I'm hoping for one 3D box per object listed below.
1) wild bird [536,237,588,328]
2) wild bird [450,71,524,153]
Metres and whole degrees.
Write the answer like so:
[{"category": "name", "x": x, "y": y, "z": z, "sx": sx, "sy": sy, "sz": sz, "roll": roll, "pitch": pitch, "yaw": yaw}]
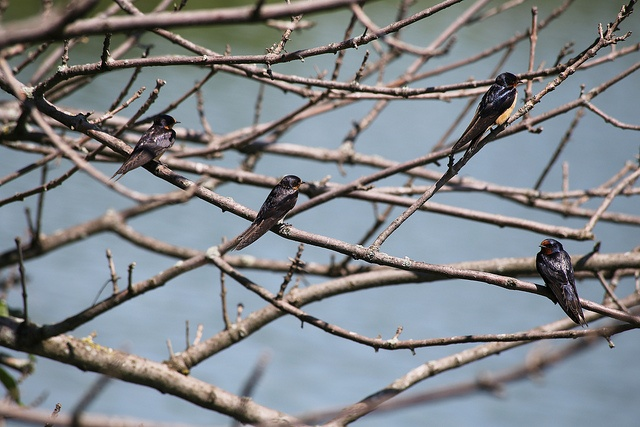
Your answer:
[{"category": "wild bird", "x": 2.462, "y": 0.674, "z": 7.281, "sx": 0.412, "sy": 1.075, "sz": 0.411, "roll": -2, "pitch": -52, "yaw": 11}, {"category": "wild bird", "x": 1.706, "y": -0.952, "z": 7.172, "sx": 0.714, "sy": 1.297, "sz": 0.435, "roll": 0, "pitch": -52, "yaw": 10}]
